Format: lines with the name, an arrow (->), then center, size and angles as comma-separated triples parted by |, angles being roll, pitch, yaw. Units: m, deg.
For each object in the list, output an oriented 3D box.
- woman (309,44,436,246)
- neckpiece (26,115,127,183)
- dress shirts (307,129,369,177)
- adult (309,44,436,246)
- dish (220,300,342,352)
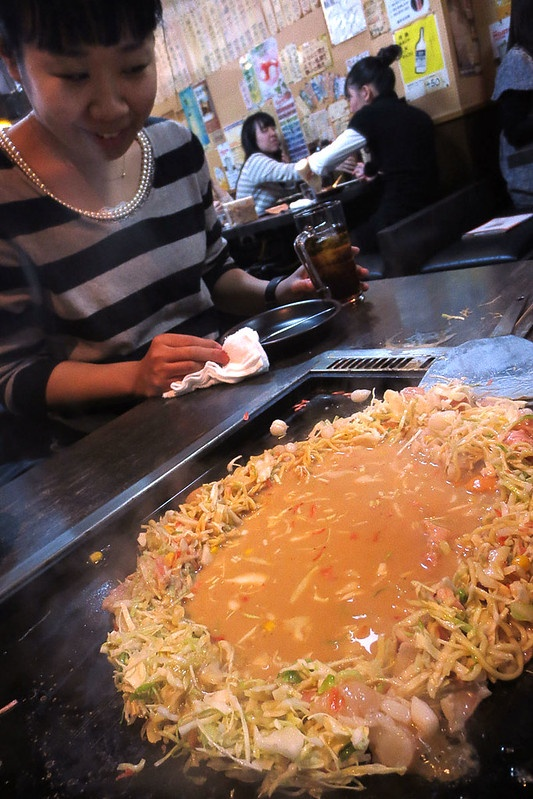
woman -> 0.916, -1.968, 4.910 | 0.946, 1.965, 1.090 | -18, 27, -23
neckpiece -> -0.567, -0.736, 1.675 | 0.296, 0.071, 0.219 | 17, 51, 14
dress shirts -> 0.600, -2.067, 4.680 | 0.360, 0.133, 0.364 | -32, 19, 20
adult -> 0.927, -1.958, 4.903 | 0.915, 1.853, 1.071 | -25, 30, -35
dish -> 0.035, -0.213, 1.604 | 0.223, 0.026, 0.220 | -33, 24, -28
